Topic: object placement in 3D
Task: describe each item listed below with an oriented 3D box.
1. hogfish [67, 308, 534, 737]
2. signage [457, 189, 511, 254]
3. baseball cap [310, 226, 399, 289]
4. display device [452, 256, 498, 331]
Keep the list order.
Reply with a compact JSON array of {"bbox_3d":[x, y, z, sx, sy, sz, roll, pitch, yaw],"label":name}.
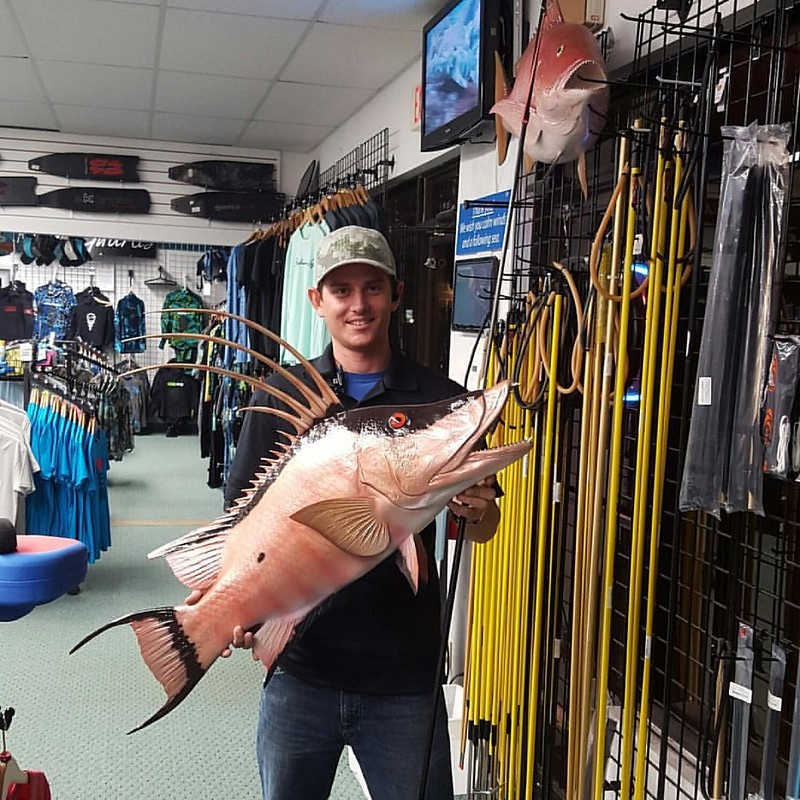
[{"bbox_3d":[-0.157,0.137,0.968,0.649,0.453,0.207,-37,-19,5],"label":"hogfish"},{"bbox_3d":[0.392,-0.802,3.057,0.039,0.275,0.394,2,5,-31],"label":"signage"},{"bbox_3d":[-0.090,-0.261,1.266,0.156,0.109,0.216,0,6,-6],"label":"baseball cap"},{"bbox_3d":[0.357,-0.503,3.156,0.047,0.353,0.395,-2,9,-22],"label":"display device"}]
